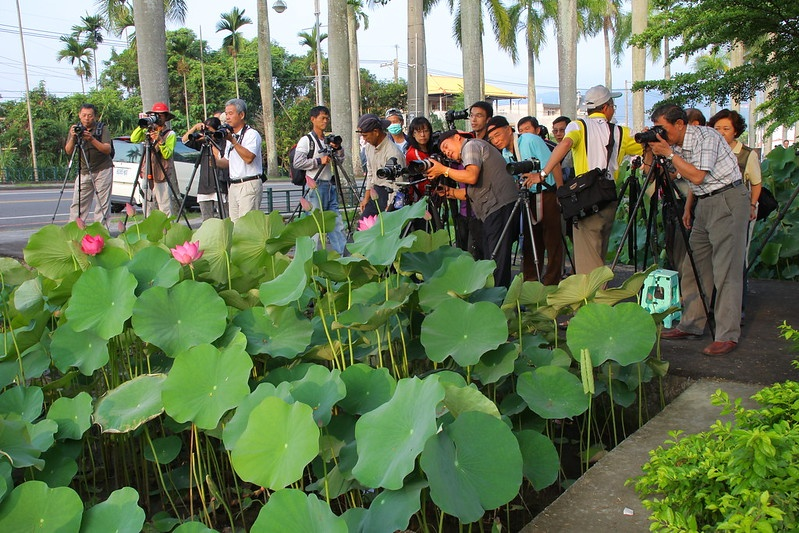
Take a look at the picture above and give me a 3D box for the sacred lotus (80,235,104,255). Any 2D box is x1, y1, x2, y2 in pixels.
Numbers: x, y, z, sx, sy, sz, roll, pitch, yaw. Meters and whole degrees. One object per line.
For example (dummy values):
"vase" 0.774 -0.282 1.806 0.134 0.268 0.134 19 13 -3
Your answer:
"sacred lotus" -1.785 -0.127 3.654 0.104 0.131 0.137 14 22 41

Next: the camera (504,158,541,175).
"camera" 1.088 -0.862 5.484 0.280 0.120 0.148 -3 -2 -42

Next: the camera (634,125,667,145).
"camera" 1.875 -0.977 4.620 0.195 0.110 0.121 -8 5 -44

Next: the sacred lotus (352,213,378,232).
"sacred lotus" -0.184 -0.257 3.669 0.113 0.075 0.216 -1 9 -1

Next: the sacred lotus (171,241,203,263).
"sacred lotus" -1.192 -0.075 3.482 0.119 0.105 0.146 -9 19 -5

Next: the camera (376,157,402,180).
"camera" -0.122 -0.962 6.340 0.229 0.241 0.234 -9 0 -23

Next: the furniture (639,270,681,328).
"furniture" 1.988 0.234 4.747 0.282 0.487 0.475 -2 0 10

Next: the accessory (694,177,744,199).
"accessory" 2.416 -0.576 4.727 0.187 0.060 0.192 -21 5 -10

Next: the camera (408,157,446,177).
"camera" 0.265 -0.944 6.106 0.139 0.211 0.614 -17 -2 17
